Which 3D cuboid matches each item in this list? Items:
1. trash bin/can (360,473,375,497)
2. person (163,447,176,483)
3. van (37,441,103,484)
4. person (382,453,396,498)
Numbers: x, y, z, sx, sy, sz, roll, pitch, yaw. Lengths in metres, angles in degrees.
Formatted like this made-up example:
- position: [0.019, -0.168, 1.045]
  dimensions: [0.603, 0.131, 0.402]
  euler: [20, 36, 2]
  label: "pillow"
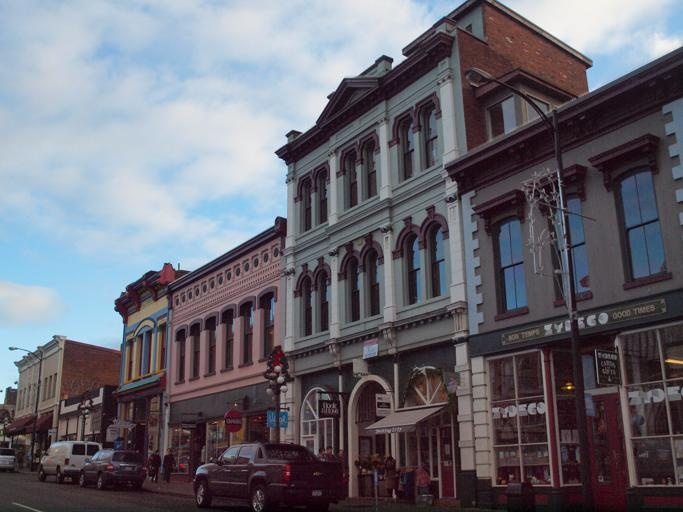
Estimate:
- position: [0.969, 9.497, 28.064]
  dimensions: [0.746, 1.092, 0.782]
  euler: [-4, -19, 15]
  label: "trash bin/can"
- position: [-10.142, 12.322, 40.015]
  dimensions: [0.641, 1.916, 1.440]
  euler: [10, -26, -23]
  label: "person"
- position: [-15.218, 11.216, 37.783]
  dimensions: [2.406, 1.978, 4.633]
  euler: [10, -17, -30]
  label: "van"
- position: [1.893, 8.520, 26.187]
  dimensions: [0.479, 1.534, 0.786]
  euler: [0, -23, -1]
  label: "person"
